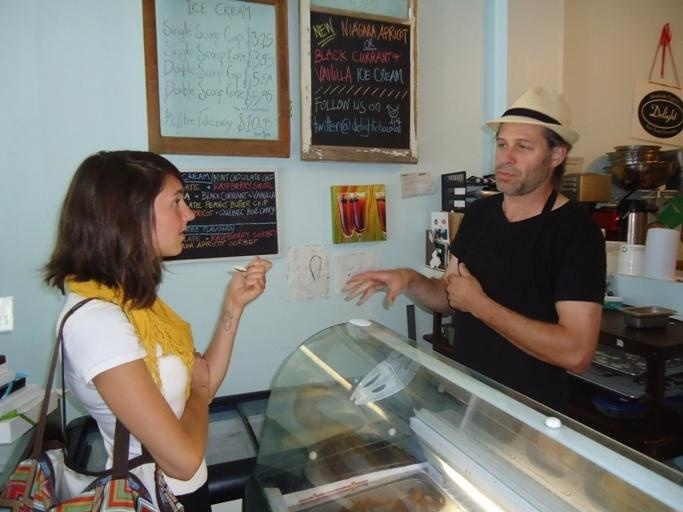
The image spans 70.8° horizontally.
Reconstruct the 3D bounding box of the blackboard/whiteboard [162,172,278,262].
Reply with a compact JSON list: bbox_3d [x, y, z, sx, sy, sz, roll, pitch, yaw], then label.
[{"bbox_3d":[-0.599,-0.194,2.333,0.452,0.341,0.017,-3,6,-17],"label":"blackboard/whiteboard"}]

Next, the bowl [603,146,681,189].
[{"bbox_3d":[1.790,-0.514,2.863,0.322,0.204,0.283,-7,5,-35],"label":"bowl"}]

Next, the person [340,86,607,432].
[{"bbox_3d":[0.645,0.209,2.142,0.729,1.766,1.066,-11,17,-37],"label":"person"}]

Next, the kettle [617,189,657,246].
[{"bbox_3d":[1.688,-0.172,2.742,0.159,0.255,0.198,-1,2,-40],"label":"kettle"}]

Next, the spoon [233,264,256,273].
[{"bbox_3d":[-0.396,0.052,1.939,0.034,0.050,0.149,-4,-9,8],"label":"spoon"}]

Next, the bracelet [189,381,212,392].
[{"bbox_3d":[-0.456,0.420,1.536,0.047,0.020,0.045,-1,12,-23],"label":"bracelet"}]
